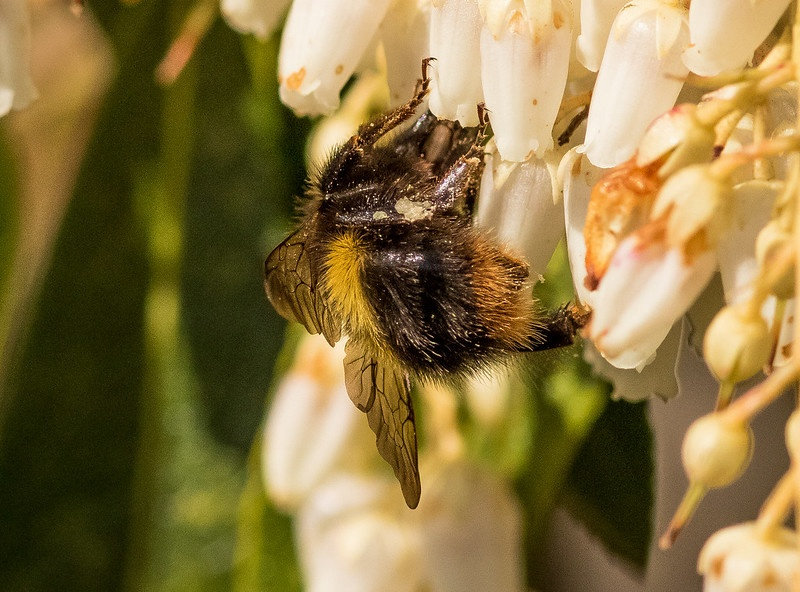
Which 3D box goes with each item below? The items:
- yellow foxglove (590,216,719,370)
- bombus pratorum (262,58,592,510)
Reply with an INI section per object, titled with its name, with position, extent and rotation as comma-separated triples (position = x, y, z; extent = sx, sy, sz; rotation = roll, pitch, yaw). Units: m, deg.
[yellow foxglove]
position = 0.105, -0.002, 0.436
extent = 0.039, 0.073, 0.046
rotation = 0, 24, -11
[bombus pratorum]
position = 0.028, 0.012, 0.625
extent = 0.141, 0.257, 0.198
rotation = -1, 23, 8
